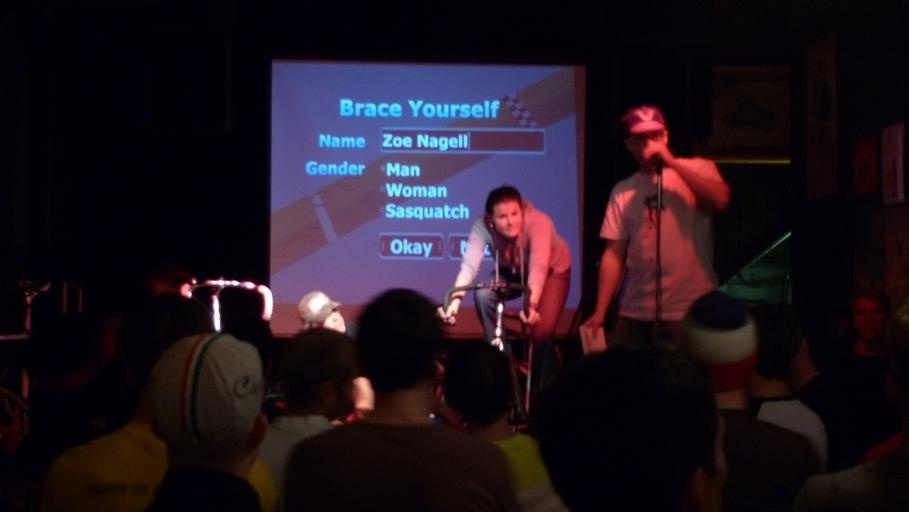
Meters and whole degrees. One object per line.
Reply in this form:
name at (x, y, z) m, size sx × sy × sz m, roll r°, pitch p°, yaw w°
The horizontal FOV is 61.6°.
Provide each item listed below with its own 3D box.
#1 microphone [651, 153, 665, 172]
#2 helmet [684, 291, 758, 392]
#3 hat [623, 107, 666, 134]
microphone at (1.593, -0.717, 5.937) m, size 0.082 × 0.140 × 0.161 m, roll 3°, pitch 5°, yaw 26°
helmet at (1.437, 0.485, 4.166) m, size 0.435 × 0.580 × 0.136 m, roll -1°, pitch 5°, yaw -16°
hat at (1.568, -1.089, 6.164) m, size 0.266 × 0.180 × 0.257 m, roll -8°, pitch 10°, yaw -41°
